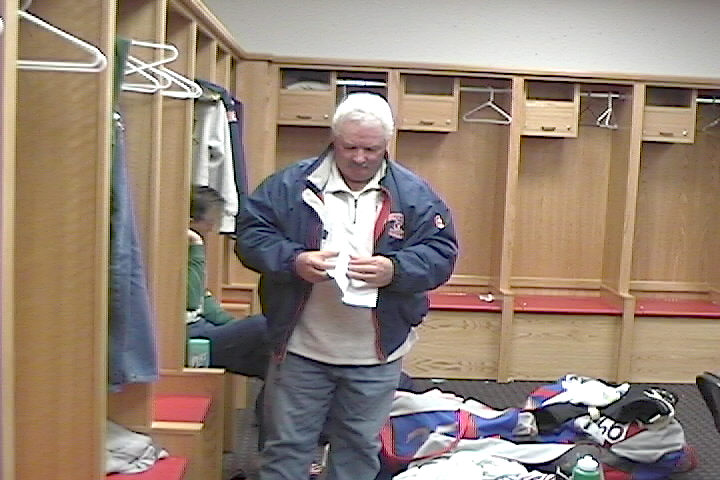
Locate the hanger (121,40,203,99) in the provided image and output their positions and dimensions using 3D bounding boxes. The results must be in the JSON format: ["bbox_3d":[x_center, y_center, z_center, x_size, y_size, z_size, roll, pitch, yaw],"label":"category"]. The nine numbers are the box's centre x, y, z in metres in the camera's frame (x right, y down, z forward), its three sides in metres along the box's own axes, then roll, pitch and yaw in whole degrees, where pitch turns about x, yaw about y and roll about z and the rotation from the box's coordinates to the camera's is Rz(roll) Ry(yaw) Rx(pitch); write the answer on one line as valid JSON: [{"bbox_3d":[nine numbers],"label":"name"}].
[{"bbox_3d":[-1.004,-0.816,3.630,0.413,0.272,0.107,5,-10,-36],"label":"hanger"}]

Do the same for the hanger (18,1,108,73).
[{"bbox_3d":[-1.162,-0.788,2.888,0.334,0.291,0.282,5,-1,-23],"label":"hanger"}]

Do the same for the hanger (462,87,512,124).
[{"bbox_3d":[0.958,-1.006,5.529,0.473,0.276,0.036,-3,9,-26],"label":"hanger"}]
